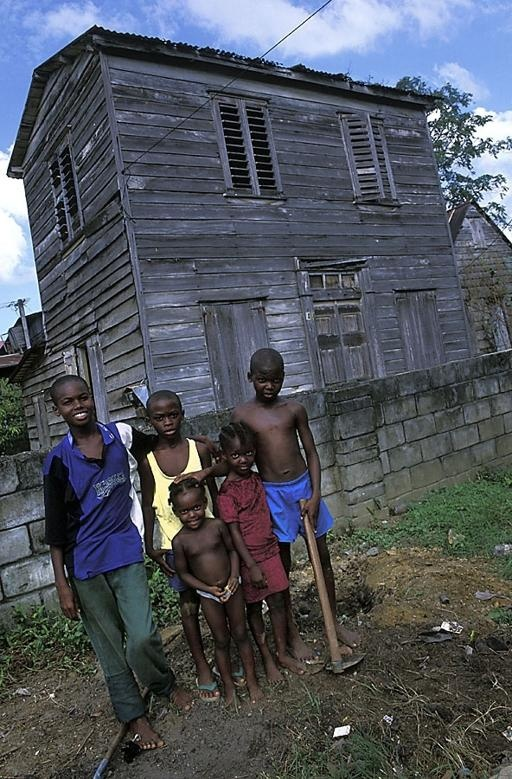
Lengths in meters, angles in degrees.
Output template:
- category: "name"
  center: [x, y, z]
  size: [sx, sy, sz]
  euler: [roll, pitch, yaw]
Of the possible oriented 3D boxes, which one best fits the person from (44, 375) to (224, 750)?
- category: "person"
  center: [-0.648, 0.738, 2.492]
  size: [0.383, 1.690, 0.556]
  euler: [-9, 3, 28]
